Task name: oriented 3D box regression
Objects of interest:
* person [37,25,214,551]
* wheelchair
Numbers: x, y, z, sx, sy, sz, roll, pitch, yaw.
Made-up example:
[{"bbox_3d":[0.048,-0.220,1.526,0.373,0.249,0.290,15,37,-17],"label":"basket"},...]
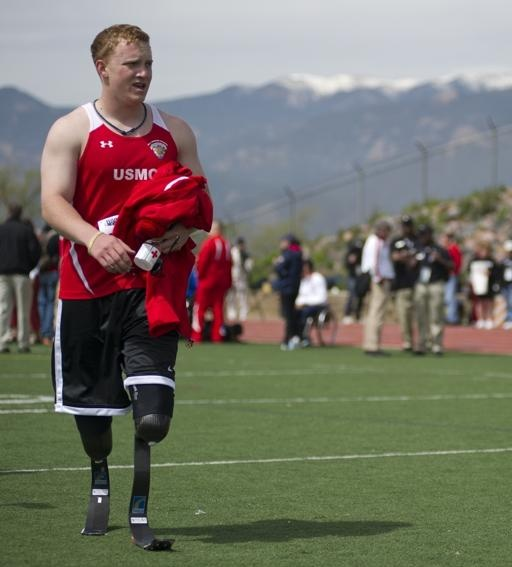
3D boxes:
[{"bbox_3d":[-0.565,-0.003,5.190,0.791,2.036,0.469,11,-3,-6],"label":"person"},{"bbox_3d":[0.559,0.223,14.641,0.432,0.899,0.589,10,18,39],"label":"wheelchair"}]
